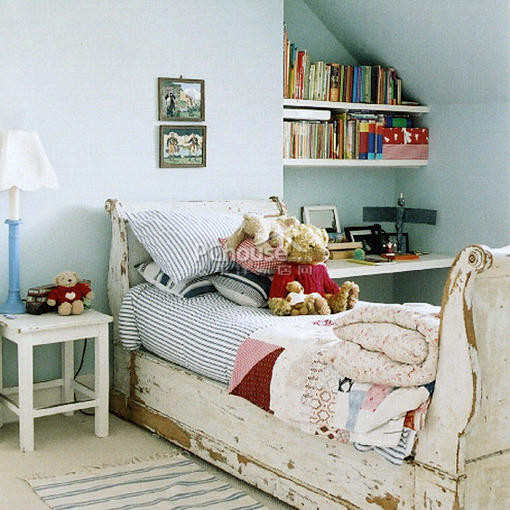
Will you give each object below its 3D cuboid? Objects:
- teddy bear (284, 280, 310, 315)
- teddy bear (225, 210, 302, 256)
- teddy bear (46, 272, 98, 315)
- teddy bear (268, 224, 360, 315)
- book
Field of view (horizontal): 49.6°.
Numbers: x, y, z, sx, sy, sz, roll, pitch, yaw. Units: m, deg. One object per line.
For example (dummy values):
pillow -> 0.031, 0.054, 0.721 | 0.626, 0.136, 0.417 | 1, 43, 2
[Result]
teddy bear -> 0.181, 0.165, 2.254 | 0.093, 0.126, 0.092 | 0, -15, -10
teddy bear -> 0.059, -0.109, 2.580 | 0.182, 0.130, 0.301 | -10, 5, 36
teddy bear -> -0.851, 0.176, 2.559 | 0.197, 0.194, 0.115 | -7, 13, -25
teddy bear -> 0.237, 0.070, 2.342 | 0.416, 0.404, 0.283 | -3, 2, -30
book -> 0.675, -1.014, 3.805 | 1.234, 0.765, 0.208 | -1, 5, -27
